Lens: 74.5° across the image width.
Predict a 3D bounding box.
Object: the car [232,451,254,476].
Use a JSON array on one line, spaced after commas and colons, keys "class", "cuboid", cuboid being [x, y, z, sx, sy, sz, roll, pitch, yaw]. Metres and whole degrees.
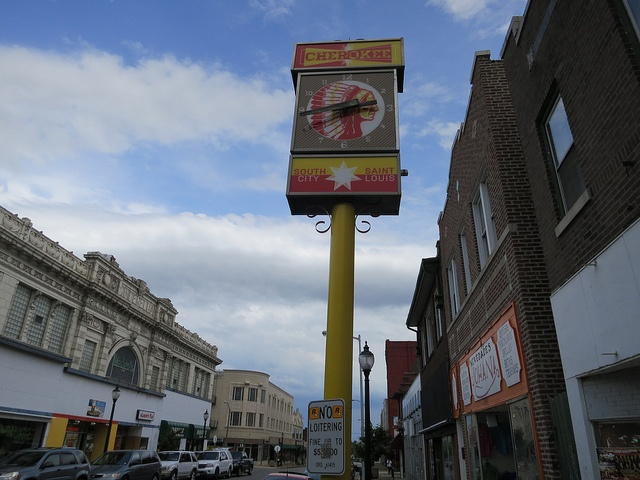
[{"class": "car", "cuboid": [-6.566, 17.721, 33.598, 1.582, 1.314, 3.123, -7, -40, 5]}]
